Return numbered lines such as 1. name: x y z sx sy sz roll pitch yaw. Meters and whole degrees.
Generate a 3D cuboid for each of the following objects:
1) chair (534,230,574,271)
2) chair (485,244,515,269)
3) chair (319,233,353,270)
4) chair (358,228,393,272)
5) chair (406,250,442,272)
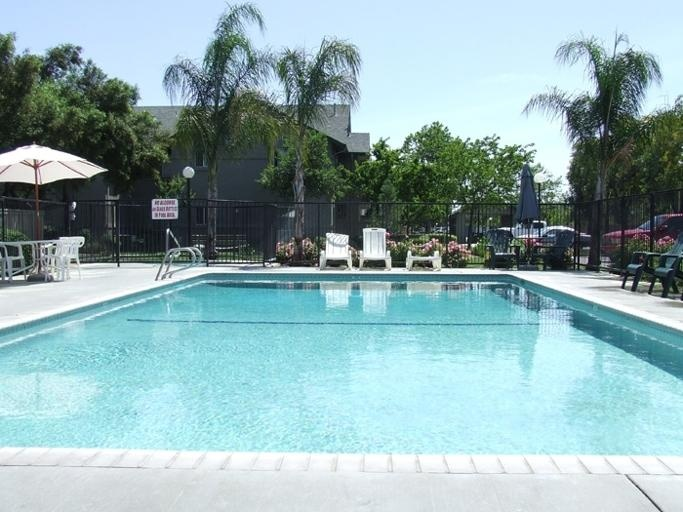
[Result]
1. chair: 6.349 -0.112 18.659 1.002 1.214 0.912 1 5 -15
2. chair: 4.882 -0.021 18.913 0.718 1.032 0.688 0 -4 -3
3. chair: -0.162 -0.190 17.900 0.725 0.973 1.168 0 0 2
4. chair: 0.931 0.033 17.966 0.853 1.322 1.420 1 19 -13
5. chair: 2.346 0.142 17.966 0.692 0.503 0.761 -1 3 2
